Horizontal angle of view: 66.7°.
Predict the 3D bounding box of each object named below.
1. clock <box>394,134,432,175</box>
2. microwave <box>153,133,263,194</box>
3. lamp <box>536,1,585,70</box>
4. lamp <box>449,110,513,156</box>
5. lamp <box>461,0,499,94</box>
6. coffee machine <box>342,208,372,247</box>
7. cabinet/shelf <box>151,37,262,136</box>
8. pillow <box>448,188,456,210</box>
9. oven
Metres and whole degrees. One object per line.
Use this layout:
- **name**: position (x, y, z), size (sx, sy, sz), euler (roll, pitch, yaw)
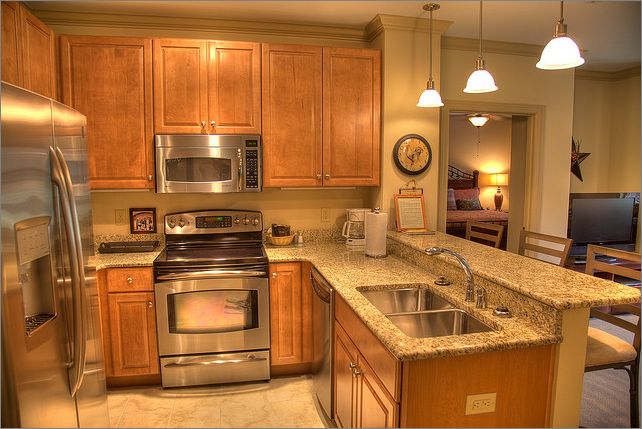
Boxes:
- **clock**: position (0.866, -0.568, 4.599), size (0.373, 0.382, 0.084), euler (-4, 8, -25)
- **microwave**: position (-0.988, -0.403, 4.423), size (0.931, 0.476, 0.539), euler (-2, -4, -11)
- **lamp**: position (1.513, -1.146, 3.078), size (0.187, 0.412, 0.202), euler (-3, 7, -15)
- **lamp**: position (3.151, -1.561, 9.681), size (1.161, 0.852, 0.386), euler (1, 7, 12)
- **lamp**: position (1.390, -1.397, 4.234), size (0.287, 0.844, 1.731), euler (1, 6, 18)
- **coffee machine**: position (0.352, 0.123, 4.562), size (0.334, 0.311, 0.259), euler (5, -3, -36)
- **cabinet/shelf**: position (-1.045, -1.136, 4.339), size (0.956, 0.796, 0.389), euler (-9, 23, -34)
- **pillow**: position (2.493, -0.290, 9.215), size (0.156, 0.380, 0.493), euler (1, 7, 16)
- **oven**: position (-0.848, 0.876, 4.504), size (1.201, 1.193, 0.886), euler (-1, 1, -10)
